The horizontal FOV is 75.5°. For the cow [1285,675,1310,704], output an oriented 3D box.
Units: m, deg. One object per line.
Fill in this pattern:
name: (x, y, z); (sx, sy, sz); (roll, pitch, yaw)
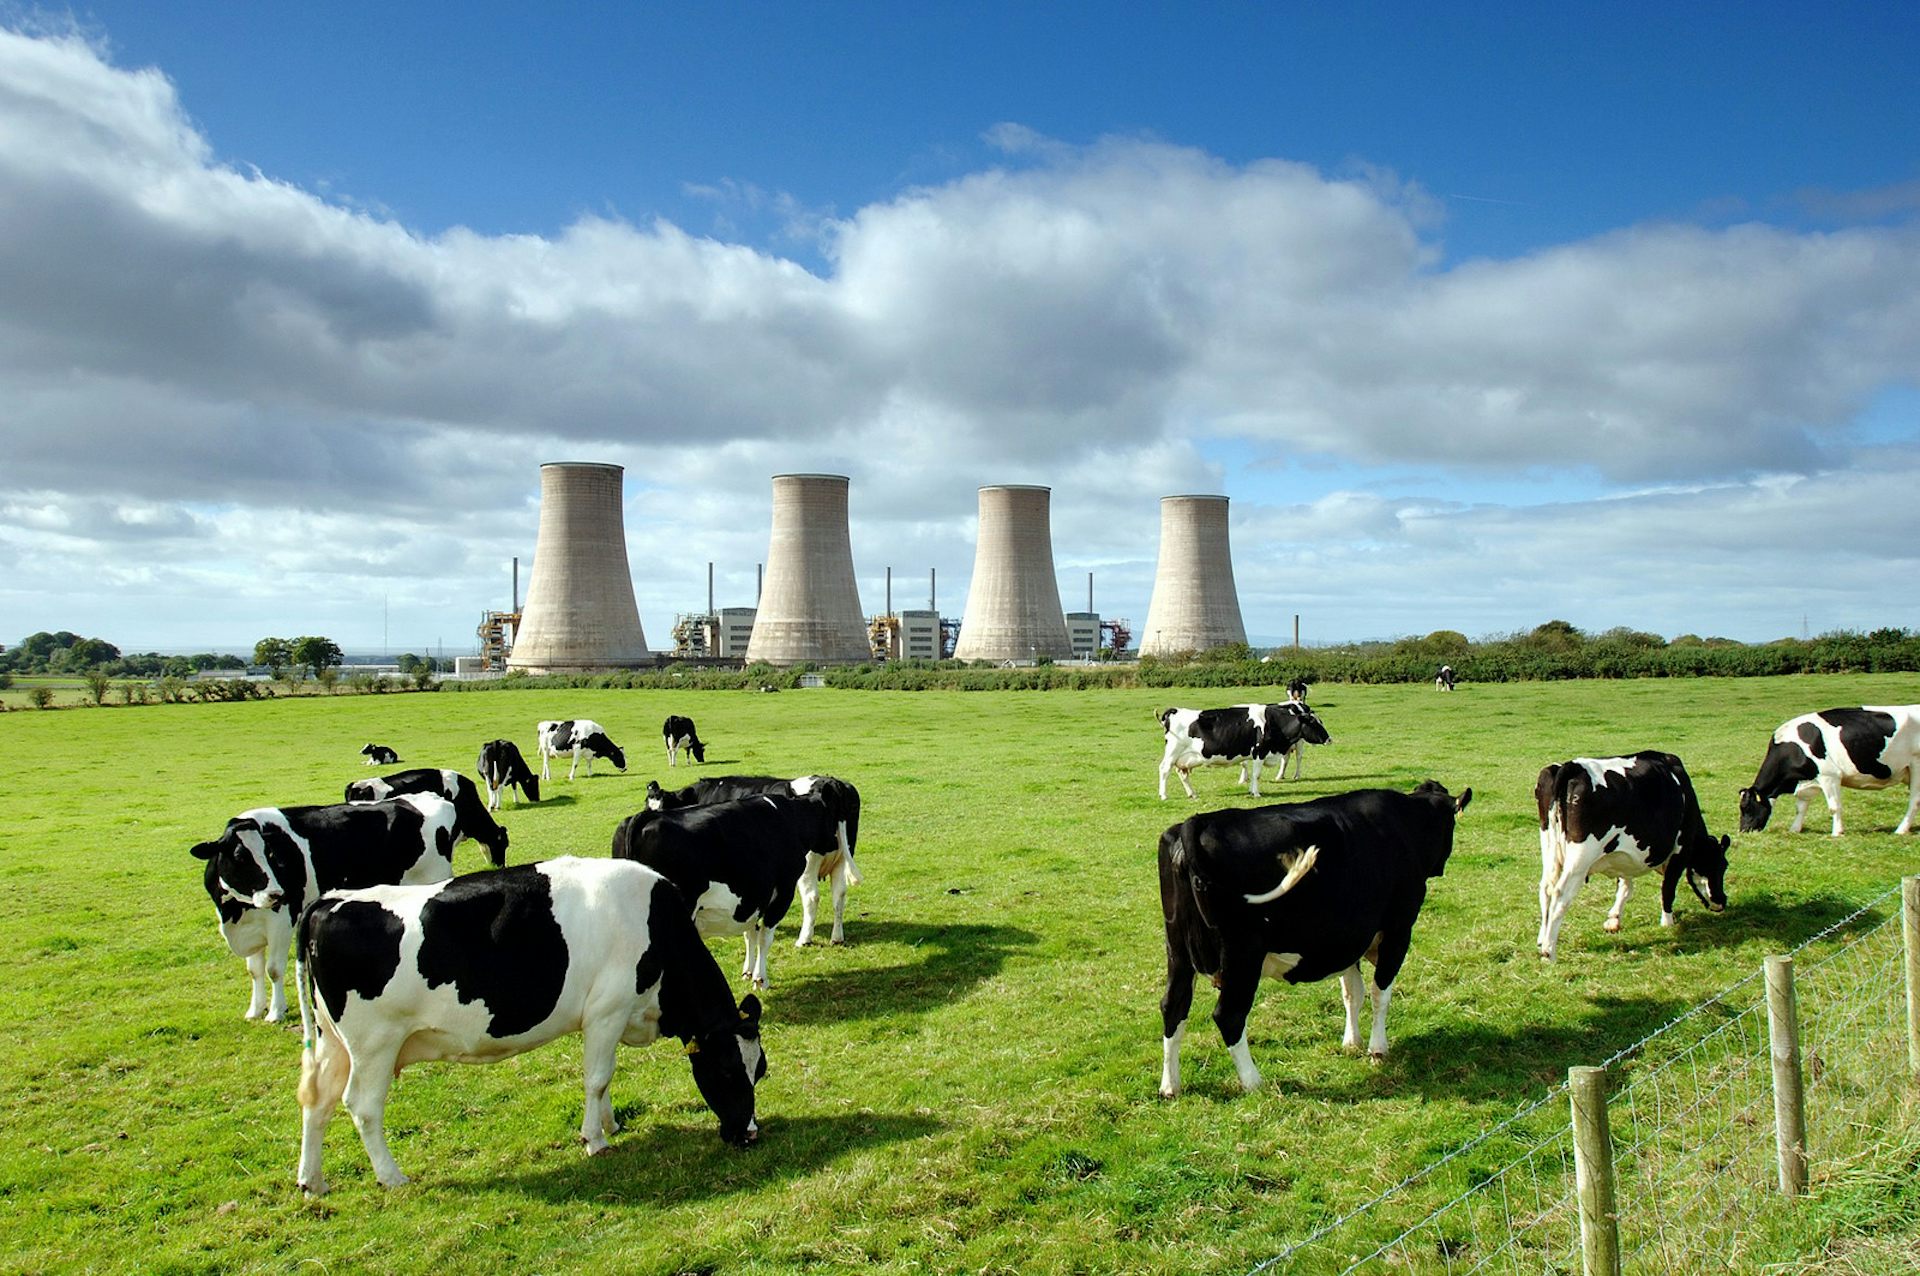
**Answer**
cow: (11.950, 1.746, 43.795); (1.078, 1.048, 0.889); (0, 2, 20)

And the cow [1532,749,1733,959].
cow: (7.296, 2.293, 13.708); (2.655, 2.080, 0.600); (-6, 11, -22)

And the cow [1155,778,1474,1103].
cow: (3.261, 2.856, 11.289); (2.588, 1.532, 0.817); (1, -5, -40)

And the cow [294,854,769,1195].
cow: (-3.587, 3.308, 10.304); (2.533, 1.574, 0.742); (1, -16, -24)
